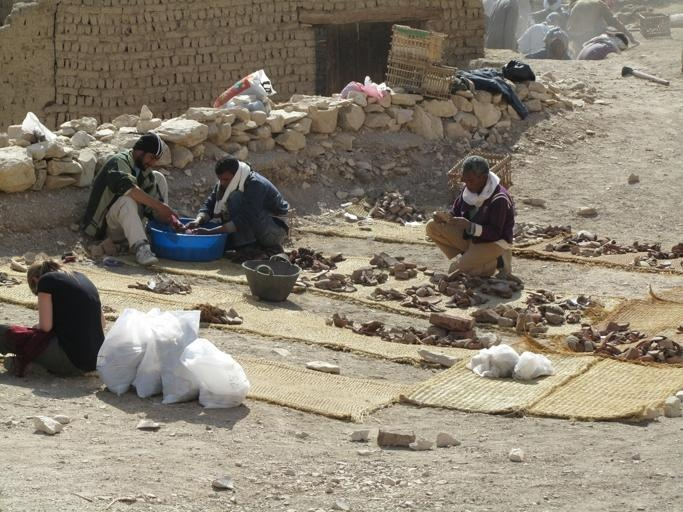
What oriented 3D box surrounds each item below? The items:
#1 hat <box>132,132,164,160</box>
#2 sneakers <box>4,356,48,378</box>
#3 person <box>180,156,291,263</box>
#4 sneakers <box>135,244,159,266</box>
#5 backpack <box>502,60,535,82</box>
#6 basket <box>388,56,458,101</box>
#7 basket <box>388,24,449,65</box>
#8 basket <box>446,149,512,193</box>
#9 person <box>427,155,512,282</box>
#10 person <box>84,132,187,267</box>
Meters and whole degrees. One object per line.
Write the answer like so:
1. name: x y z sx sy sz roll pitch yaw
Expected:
1. hat: -2.135 -1.170 12.703 0.376 0.302 0.231 -6 61 -19
2. sneakers: -2.698 0.921 9.902 0.310 0.109 0.179 -1 -1 18
3. person: -1.167 -0.542 12.873 1.154 0.777 0.789 -4 13 -25
4. sneakers: -2.107 -0.028 12.416 0.212 0.202 0.315 2 12 -12
5. backpack: 2.617 -2.742 17.477 0.365 0.168 0.408 5 9 4
6. basket: 1.070 -2.546 16.858 1.025 0.366 0.578 15 16 21
7. basket: 1.033 -2.987 16.665 0.780 0.485 0.372 7 14 10
8. basket: 1.659 -1.157 15.153 1.074 0.390 0.562 6 -9 1
9. person: 1.344 -0.357 12.476 1.063 1.267 0.780 5 17 5
10. person: -2.267 -0.705 12.785 1.241 1.143 1.218 2 20 -20
